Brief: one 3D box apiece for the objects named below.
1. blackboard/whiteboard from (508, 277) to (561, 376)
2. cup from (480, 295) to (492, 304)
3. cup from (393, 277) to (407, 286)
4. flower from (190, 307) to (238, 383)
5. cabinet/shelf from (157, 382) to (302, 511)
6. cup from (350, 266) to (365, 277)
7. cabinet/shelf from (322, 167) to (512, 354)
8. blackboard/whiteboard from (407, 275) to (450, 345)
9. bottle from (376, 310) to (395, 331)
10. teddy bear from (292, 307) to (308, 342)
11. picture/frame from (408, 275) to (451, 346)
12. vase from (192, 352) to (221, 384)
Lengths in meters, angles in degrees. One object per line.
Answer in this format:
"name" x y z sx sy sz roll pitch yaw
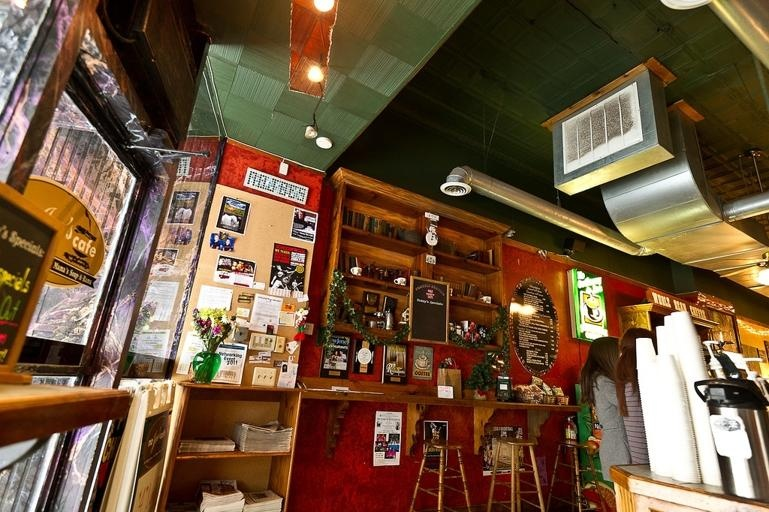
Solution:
"blackboard/whiteboard" 2.051 1.013 6.222 1.320 1.550 0.081 9 -18 -37
"cup" 1.268 0.537 5.624 0.098 0.128 0.042 5 -25 -20
"cup" 0.184 0.287 5.120 0.133 0.083 0.084 -8 -20 22
"flower" -1.533 0.797 4.016 0.416 0.661 0.328 -11 -27 31
"cabinet/shelf" -1.326 1.643 3.919 1.087 1.010 0.629 13 -23 -20
"cup" -0.302 0.157 4.886 0.120 0.077 0.089 -1 -10 -2
"cabinet/shelf" 0.564 0.166 5.377 2.642 1.767 0.448 15 -32 -32
"blackboard/whiteboard" 0.494 0.640 5.149 0.728 0.923 0.078 11 -24 -23
"bottle" 0.007 0.706 4.994 0.192 0.260 0.136 7 -22 -6
"teddy bear" -0.833 0.699 4.587 0.088 0.347 0.208 -1 -23 15
"picture/frame" 0.499 0.643 5.153 0.747 0.941 0.079 11 -24 -23
"vase" -1.552 0.976 3.941 0.247 0.275 0.251 14 -23 -21
